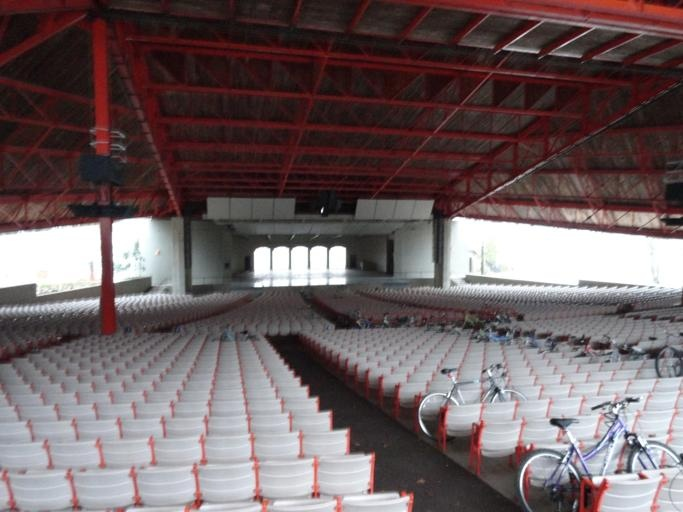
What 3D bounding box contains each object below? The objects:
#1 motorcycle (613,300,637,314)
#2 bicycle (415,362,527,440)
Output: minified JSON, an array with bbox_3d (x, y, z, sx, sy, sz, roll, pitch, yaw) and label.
[{"bbox_3d":[14.080,2.566,26.063,1.151,0.691,1.119,0,-6,-42],"label":"motorcycle"},{"bbox_3d":[2.703,2.988,10.758,2.516,1.350,1.151,1,-18,-12],"label":"bicycle"}]
